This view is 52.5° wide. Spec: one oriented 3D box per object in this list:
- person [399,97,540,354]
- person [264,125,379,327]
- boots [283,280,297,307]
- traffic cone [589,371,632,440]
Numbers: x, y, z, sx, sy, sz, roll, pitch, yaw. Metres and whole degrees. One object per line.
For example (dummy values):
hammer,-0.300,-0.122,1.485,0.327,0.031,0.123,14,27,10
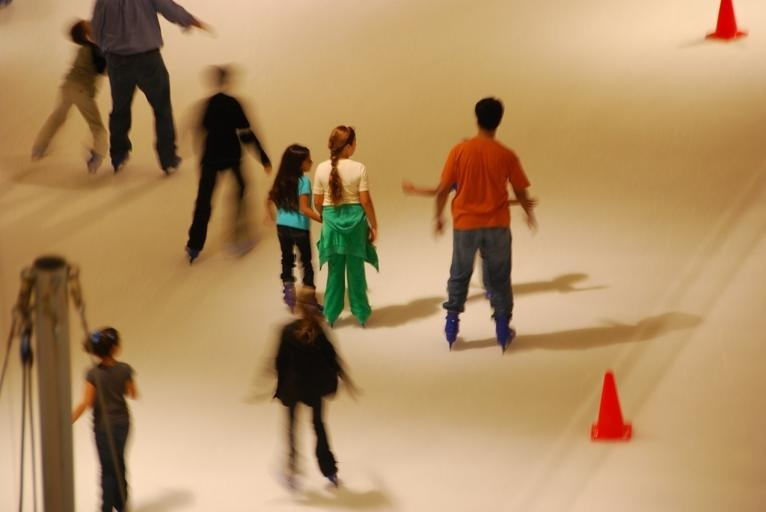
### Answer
person,0.839,-0.283,6.861,0.922,2.043,0.829,1,-9,-11
person,-0.344,-0.256,7.053,0.565,1.662,0.798,0,-9,-1
boots,-0.903,0.364,7.449,0.084,0.304,0.196,-2,5,-3
traffic cone,1.950,1.320,6.686,0.372,0.569,0.386,-1,25,10
